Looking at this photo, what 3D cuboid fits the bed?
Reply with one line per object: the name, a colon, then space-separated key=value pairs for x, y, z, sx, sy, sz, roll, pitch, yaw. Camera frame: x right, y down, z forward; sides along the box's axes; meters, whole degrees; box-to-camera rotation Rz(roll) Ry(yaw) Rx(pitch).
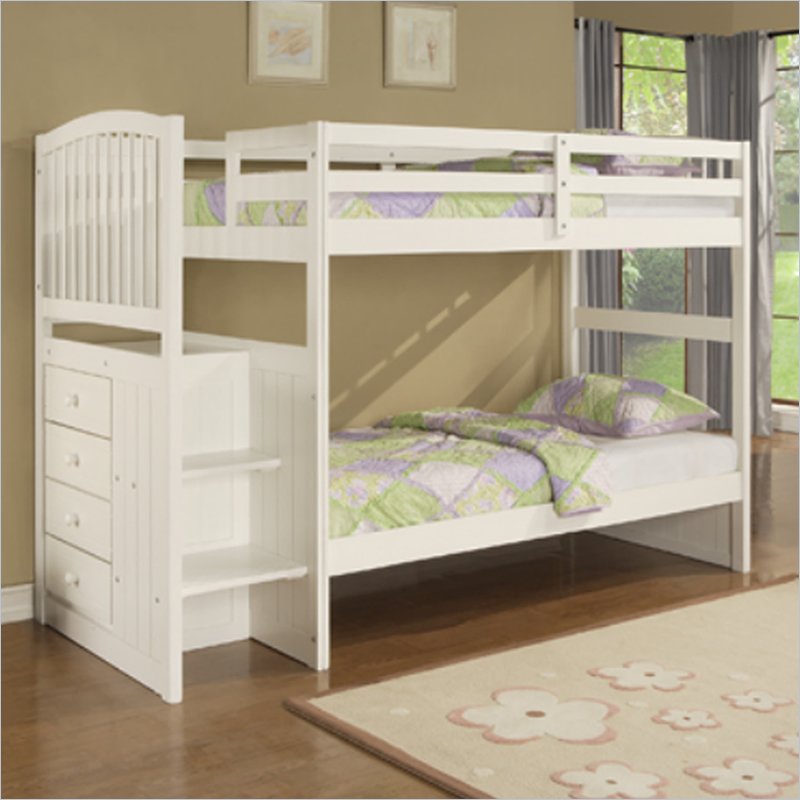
bed: x=-0.036 y=-0.146 z=3.461 sx=2.269 sy=1.568 sz=1.169 roll=-6 pitch=9 yaw=-35
